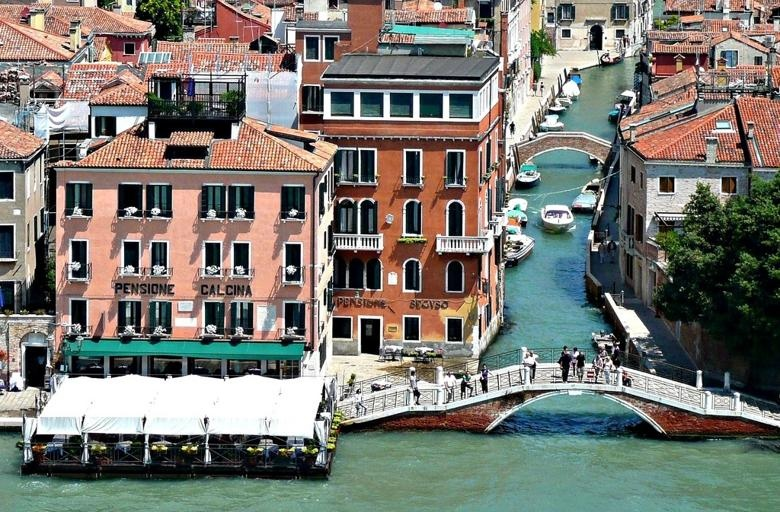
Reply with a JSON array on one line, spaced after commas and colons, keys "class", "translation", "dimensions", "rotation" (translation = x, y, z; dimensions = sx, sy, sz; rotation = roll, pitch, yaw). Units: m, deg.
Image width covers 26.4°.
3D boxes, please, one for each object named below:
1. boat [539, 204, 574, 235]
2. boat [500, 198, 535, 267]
[{"class": "boat", "translation": [17.747, -4.028, 175.354], "dimensions": [3.130, 3.201, 3.368], "rotation": [-1, -6, 0]}, {"class": "boat", "translation": [13.026, -2.535, 169.041], "dimensions": [2.355, 2.874, 12.020], "rotation": [0, 30, 6]}]
